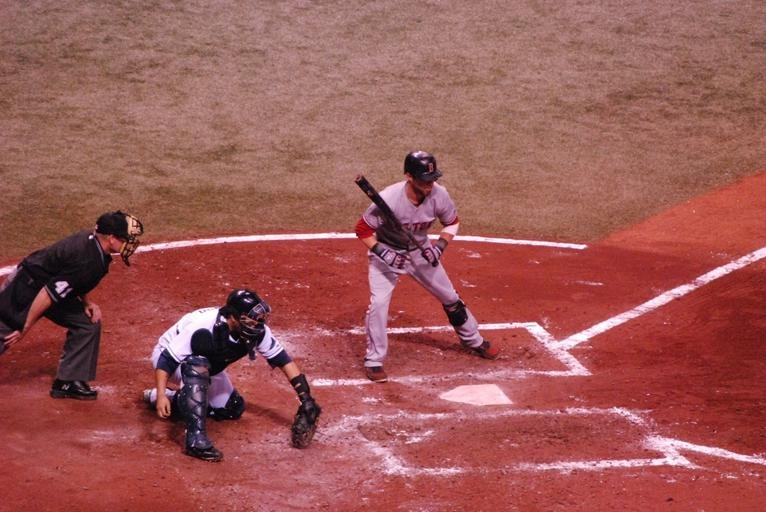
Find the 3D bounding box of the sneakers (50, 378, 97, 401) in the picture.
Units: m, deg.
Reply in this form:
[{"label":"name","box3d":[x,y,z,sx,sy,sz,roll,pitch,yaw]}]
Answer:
[{"label":"sneakers","box3d":[-3.393,1.456,9.117,0.569,0.200,0.197,2,99,-6]}]

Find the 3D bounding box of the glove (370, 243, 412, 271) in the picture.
[{"label":"glove","box3d":[0.089,0.034,9.750,0.490,0.282,0.104,22,52,-21]}]

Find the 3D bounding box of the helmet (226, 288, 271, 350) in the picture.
[{"label":"helmet","box3d":[-1.366,0.643,8.465,0.407,0.510,0.512,-15,56,-13]}]

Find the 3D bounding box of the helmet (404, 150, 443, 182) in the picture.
[{"label":"helmet","box3d":[0.412,-1.020,9.634,0.488,0.190,0.341,16,35,32]}]

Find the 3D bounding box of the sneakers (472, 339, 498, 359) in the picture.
[{"label":"sneakers","box3d":[1.259,1.161,10.357,0.352,0.199,0.110,23,69,-26]}]

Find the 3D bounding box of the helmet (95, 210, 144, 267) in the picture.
[{"label":"helmet","box3d":[-2.906,-0.193,8.961,0.663,0.439,0.516,3,97,-18]}]
